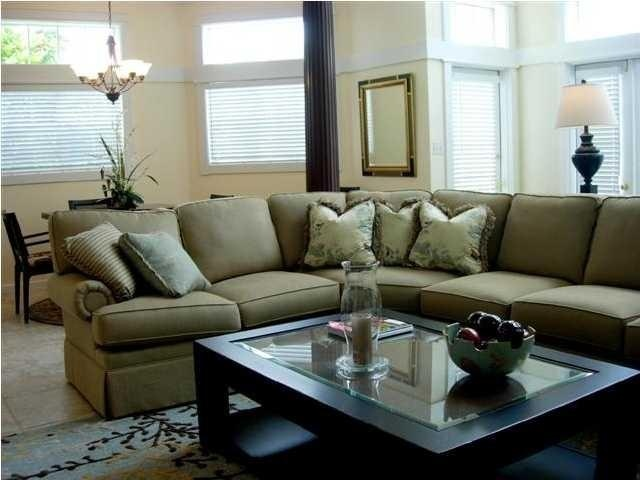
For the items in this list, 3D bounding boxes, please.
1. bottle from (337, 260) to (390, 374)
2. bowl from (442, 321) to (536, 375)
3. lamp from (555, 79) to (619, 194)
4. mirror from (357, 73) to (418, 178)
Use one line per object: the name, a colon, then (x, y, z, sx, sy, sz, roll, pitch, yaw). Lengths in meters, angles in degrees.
bottle: (0.155, 0.342, 2.119, 0.265, 0.464, 0.256, -5, 5, 0)
bowl: (0.612, 0.433, 1.933, 0.314, 0.155, 0.315, 2, -5, 0)
lamp: (2.238, -0.830, 4.338, 0.478, 0.922, 0.480, 0, 0, 30)
mirror: (0.751, -1.254, 5.856, 0.111, 1.092, 0.800, -13, 15, -41)
